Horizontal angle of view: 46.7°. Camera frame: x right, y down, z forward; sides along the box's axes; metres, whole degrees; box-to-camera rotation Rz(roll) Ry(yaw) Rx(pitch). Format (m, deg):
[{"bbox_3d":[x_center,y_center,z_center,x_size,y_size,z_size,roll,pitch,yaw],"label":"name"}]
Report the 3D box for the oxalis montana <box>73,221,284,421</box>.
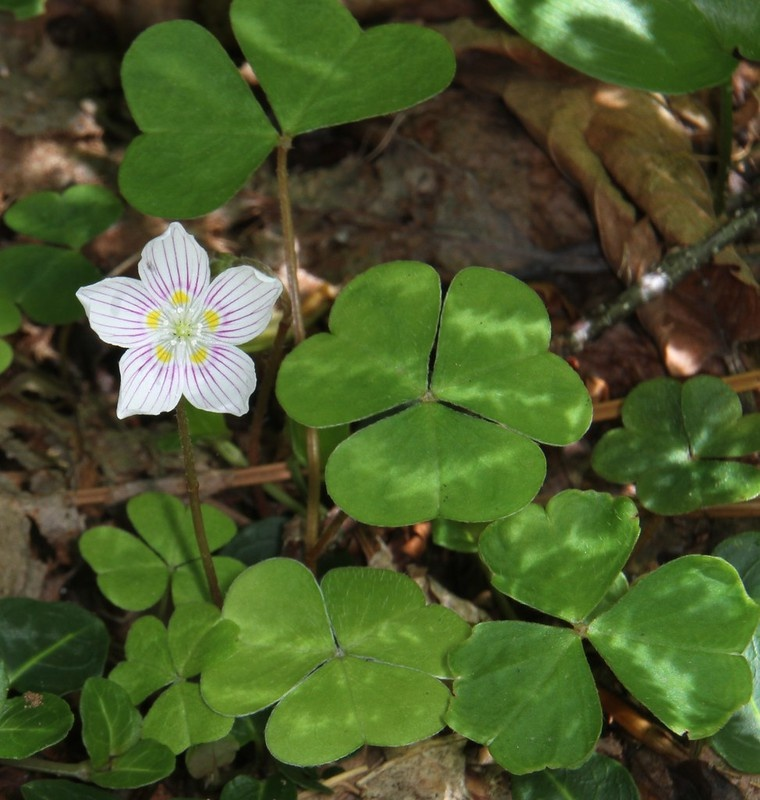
[{"bbox_3d":[-0.363,-0.150,1.688,0.364,0.192,0.338,-15,66,-5],"label":"oxalis montana"}]
